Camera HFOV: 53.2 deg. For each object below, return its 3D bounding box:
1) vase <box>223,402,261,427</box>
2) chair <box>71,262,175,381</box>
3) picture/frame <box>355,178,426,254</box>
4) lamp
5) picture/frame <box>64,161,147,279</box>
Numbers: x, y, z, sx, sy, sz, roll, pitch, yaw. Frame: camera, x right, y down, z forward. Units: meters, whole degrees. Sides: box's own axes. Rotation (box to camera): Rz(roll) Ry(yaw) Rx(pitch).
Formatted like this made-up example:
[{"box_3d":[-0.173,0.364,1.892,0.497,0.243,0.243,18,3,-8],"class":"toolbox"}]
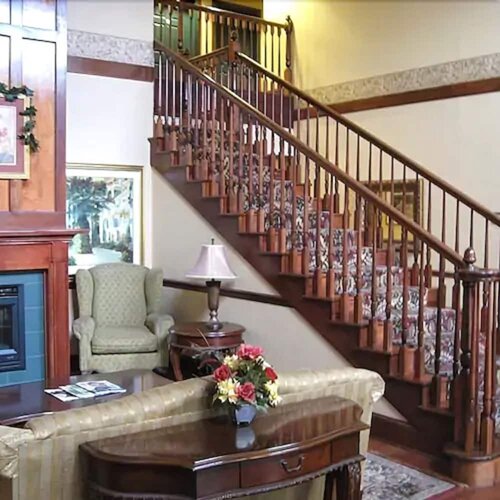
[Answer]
[{"box_3d":[-0.026,0.536,1.635,0.084,0.068,0.076,0,-2,-26],"class":"vase"},{"box_3d":[-1.315,0.722,5.046,0.880,1.332,0.757,2,-10,-26],"class":"chair"},{"box_3d":[1.296,-0.313,4.538,0.053,0.908,0.641,-3,5,-36],"class":"picture/frame"},{"box_3d":[-0.322,0.282,4.372,0.359,0.798,0.372,5,9,31],"class":"lamp"},{"box_3d":[-1.633,-0.355,5.507,1.015,1.505,0.052,-2,3,-37],"class":"picture/frame"}]
